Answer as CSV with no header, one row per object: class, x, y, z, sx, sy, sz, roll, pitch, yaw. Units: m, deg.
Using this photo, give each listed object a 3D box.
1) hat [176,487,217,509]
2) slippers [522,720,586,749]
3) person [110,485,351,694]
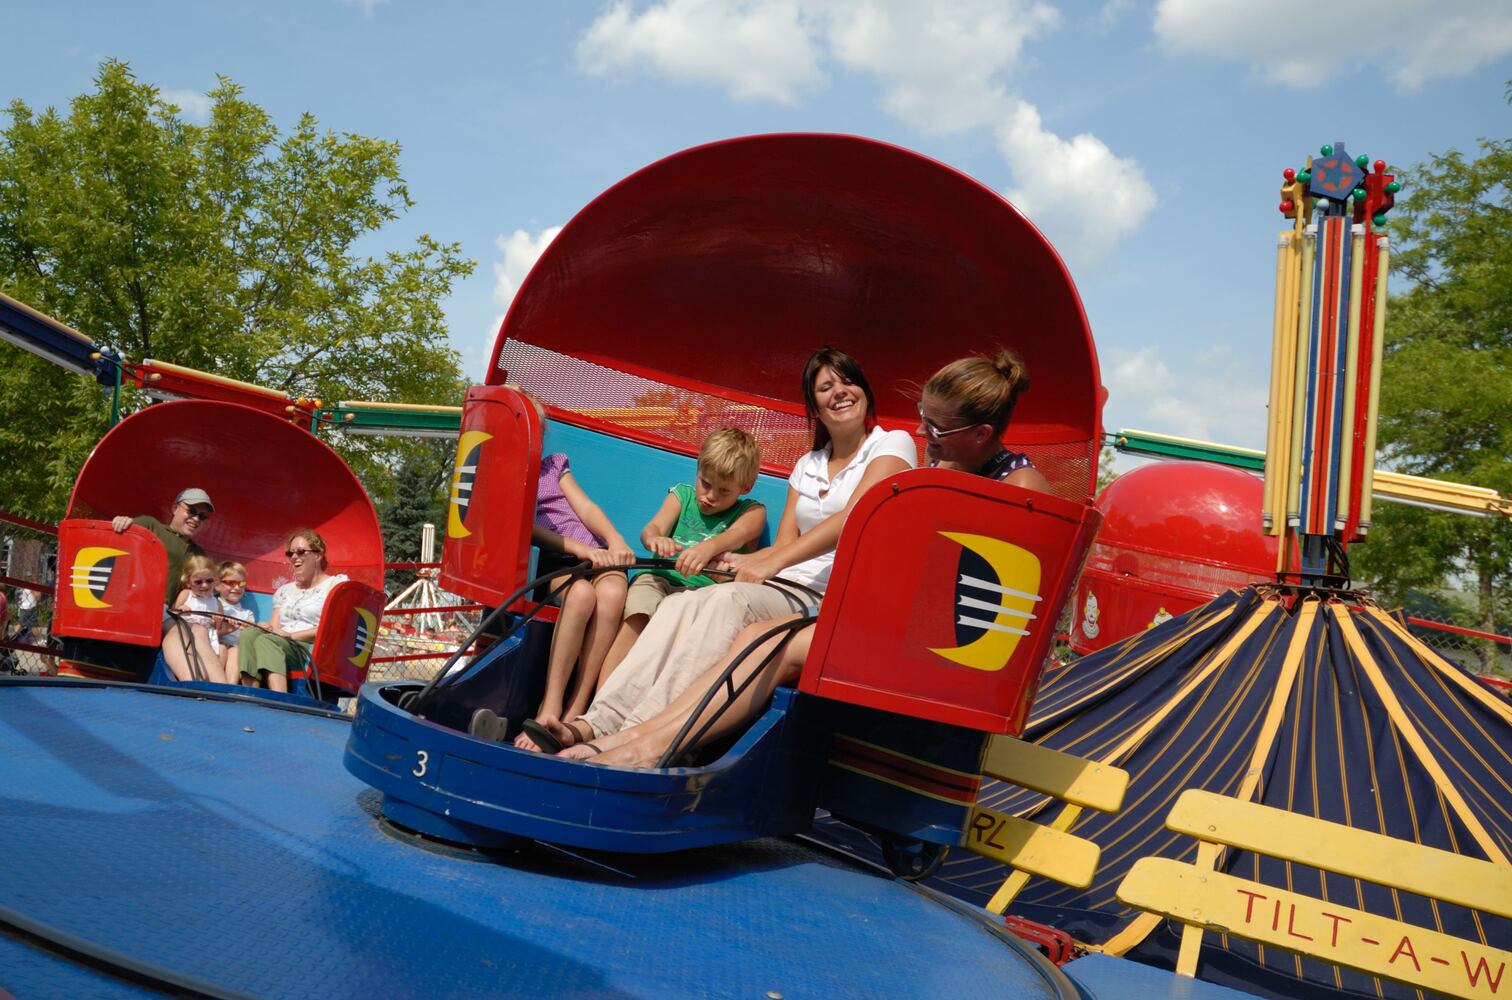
hat,-4.679,-0.043,10.250,0.239,0.174,0.335,15,-18,-40
slippers,-0.932,1.097,5.736,0.285,0.102,0.109,21,8,-6
person,-4.127,0.809,9.703,1.119,1.505,2.439,11,-18,-25
